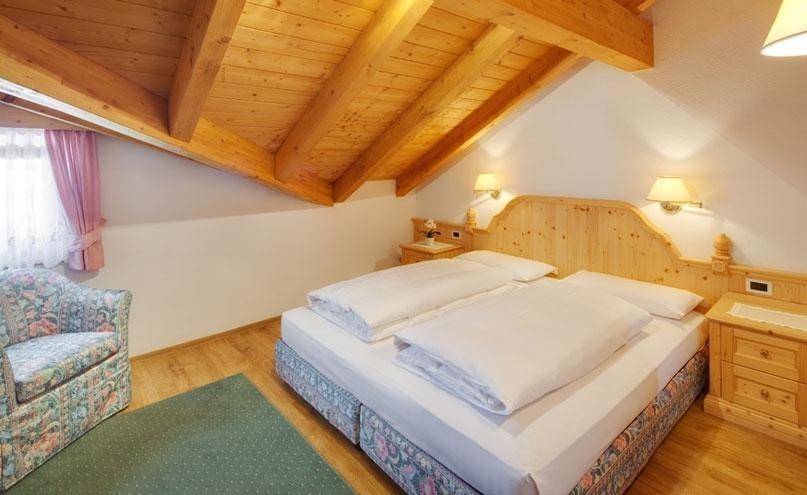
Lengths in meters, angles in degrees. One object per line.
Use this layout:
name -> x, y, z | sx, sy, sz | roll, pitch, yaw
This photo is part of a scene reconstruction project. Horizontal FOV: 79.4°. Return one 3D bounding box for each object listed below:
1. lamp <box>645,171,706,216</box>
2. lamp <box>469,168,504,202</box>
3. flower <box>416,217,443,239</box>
lamp -> 2.368, -0.429, 4.192 | 0.396, 0.337, 0.335 | 3, 1, 41
lamp -> 0.913, -0.689, 5.332 | 0.313, 0.289, 0.294 | -2, 9, -12
flower -> 0.319, -0.272, 6.018 | 0.236, 0.295, 0.299 | -4, 10, -29
